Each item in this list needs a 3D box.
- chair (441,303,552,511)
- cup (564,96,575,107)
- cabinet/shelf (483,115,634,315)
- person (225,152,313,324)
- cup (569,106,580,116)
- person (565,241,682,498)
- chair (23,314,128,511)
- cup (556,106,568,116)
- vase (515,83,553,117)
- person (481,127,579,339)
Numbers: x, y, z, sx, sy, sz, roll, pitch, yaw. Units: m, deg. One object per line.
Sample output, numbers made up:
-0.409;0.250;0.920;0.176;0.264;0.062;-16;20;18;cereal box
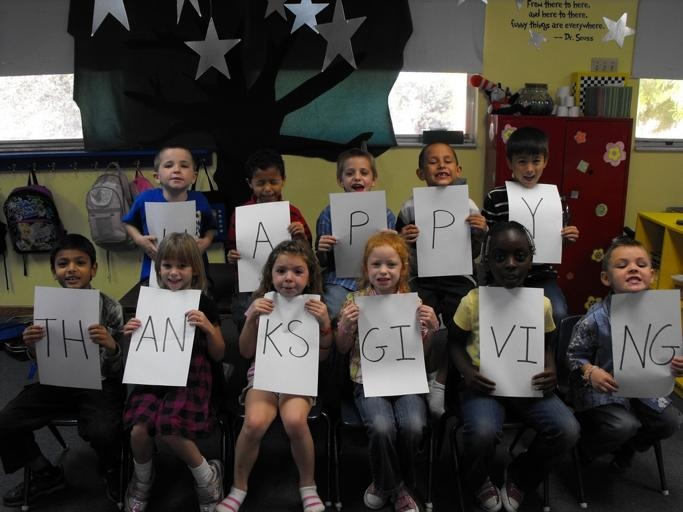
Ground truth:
0.760;0.510;2.533;0.475;1.260;0.308;-2;3;3;chair
1.607;-1.081;3.866;0.068;0.063;0.068;-2;10;0;cup
1.570;-0.180;4.004;0.906;1.640;0.583;3;-32;24;cabinet/shelf
-0.409;0.043;3.320;0.483;1.294;0.461;-4;17;-3;person
1.641;-1.012;3.864;0.076;0.073;0.078;1;2;0;cup
1.307;0.480;2.552;0.465;1.122;0.319;-3;4;-18;person
-1.275;0.704;2.535;0.541;0.875;0.295;-3;4;-23;chair
1.545;-1.008;3.844;0.075;0.072;0.076;0;10;0;cup
1.353;-1.068;3.919;0.279;0.264;0.281;-5;8;-2;vase
1.059;-0.107;3.108;0.568;1.226;0.689;2;8;14;person
